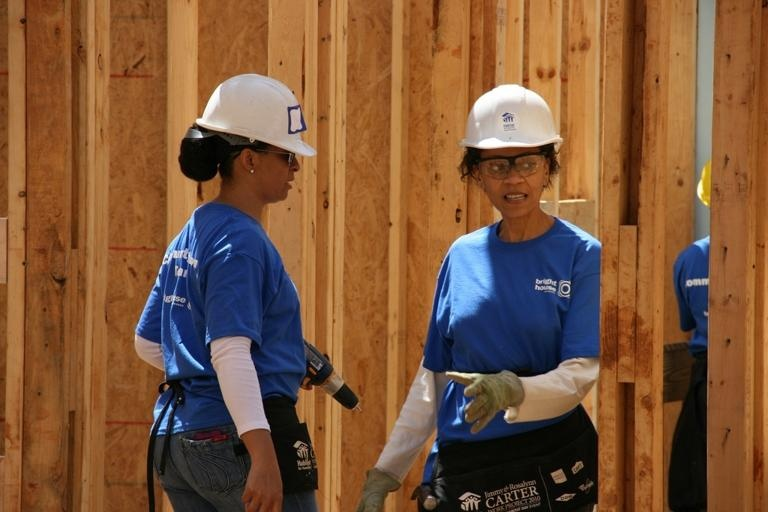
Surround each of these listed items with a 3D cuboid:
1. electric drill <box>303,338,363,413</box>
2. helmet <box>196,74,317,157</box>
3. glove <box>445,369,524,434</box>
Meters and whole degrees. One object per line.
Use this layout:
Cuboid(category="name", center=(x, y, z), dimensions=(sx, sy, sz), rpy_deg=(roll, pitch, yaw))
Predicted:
Cuboid(category="electric drill", center=(-0.244, 0.570, 7.906), dimensions=(0.208, 0.362, 0.286), rpy_deg=(1, 2, 4))
Cuboid(category="helmet", center=(-0.595, -0.653, 7.624), dimensions=(0.574, 0.361, 0.465), rpy_deg=(7, 5, 9))
Cuboid(category="glove", center=(0.451, 0.612, 7.295), dimensions=(0.336, 0.280, 0.171), rpy_deg=(-11, -7, 17))
